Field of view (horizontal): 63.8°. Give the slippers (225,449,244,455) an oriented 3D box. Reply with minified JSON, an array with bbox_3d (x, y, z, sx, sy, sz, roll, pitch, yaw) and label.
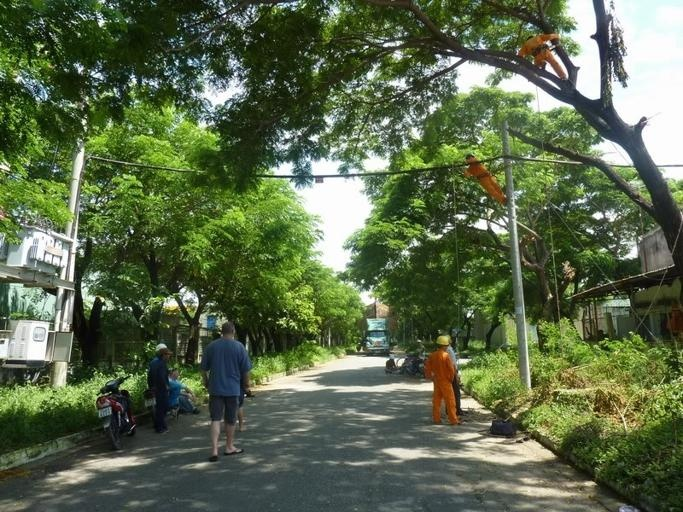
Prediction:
[{"bbox_3d":[-1.944,3.551,9.879,0.223,0.069,0.124,0,-6,-17],"label":"slippers"}]

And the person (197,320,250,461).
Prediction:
[{"bbox_3d":[-2.114,2.435,10.117,0.885,2.435,0.699,0,-11,-23],"label":"person"}]

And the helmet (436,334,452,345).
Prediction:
[{"bbox_3d":[2.477,2.057,13.306,0.239,0.138,0.313,1,2,35],"label":"helmet"}]

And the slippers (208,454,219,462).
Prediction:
[{"bbox_3d":[-2.214,3.523,9.531,0.159,0.099,0.334,-2,-14,-13],"label":"slippers"}]

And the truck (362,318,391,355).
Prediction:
[{"bbox_3d":[4.149,9.334,63.075,2.902,4.136,6.823,-1,-7,5],"label":"truck"}]

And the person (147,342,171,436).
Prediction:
[{"bbox_3d":[-4.161,2.997,12.490,0.433,1.988,0.641,0,-11,-20],"label":"person"}]

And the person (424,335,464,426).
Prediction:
[{"bbox_3d":[2.460,3.014,13.477,0.751,2.161,1.326,-6,-11,10],"label":"person"}]

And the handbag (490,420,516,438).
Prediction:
[{"bbox_3d":[3.362,3.623,11.444,0.532,0.337,0.389,-9,-13,15],"label":"handbag"}]
